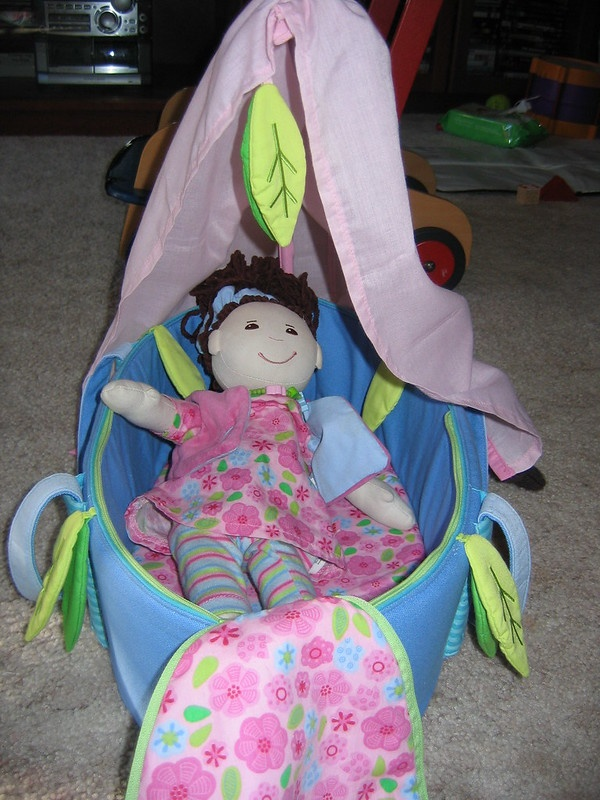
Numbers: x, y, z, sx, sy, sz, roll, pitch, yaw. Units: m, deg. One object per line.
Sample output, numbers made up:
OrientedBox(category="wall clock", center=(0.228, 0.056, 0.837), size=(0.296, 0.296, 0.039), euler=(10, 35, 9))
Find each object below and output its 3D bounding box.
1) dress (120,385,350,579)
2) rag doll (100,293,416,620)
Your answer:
OrientedBox(category="dress", center=(-0.102, 0.095, 0.969), size=(0.272, 0.096, 0.305), euler=(-4, 49, -11))
OrientedBox(category="rag doll", center=(-0.059, 0.068, 0.986), size=(0.426, 0.156, 0.519), euler=(4, 57, -2))
